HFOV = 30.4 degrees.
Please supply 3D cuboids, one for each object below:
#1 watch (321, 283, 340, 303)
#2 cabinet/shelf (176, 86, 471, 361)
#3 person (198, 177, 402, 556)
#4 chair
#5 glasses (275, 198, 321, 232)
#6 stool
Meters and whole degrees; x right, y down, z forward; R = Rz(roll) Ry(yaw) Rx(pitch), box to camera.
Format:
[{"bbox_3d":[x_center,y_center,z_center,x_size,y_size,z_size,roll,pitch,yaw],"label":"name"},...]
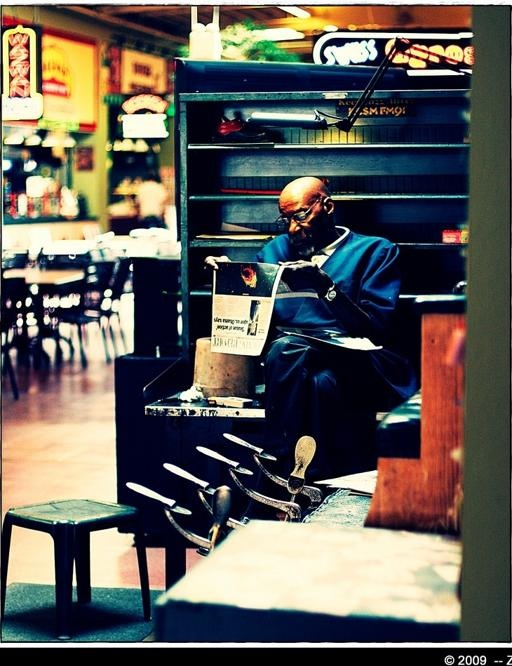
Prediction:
[{"bbox_3d":[0.278,-0.147,3.529,0.014,0.051,0.060,19,-18,-8],"label":"watch"},{"bbox_3d":[0.332,-0.324,4.164,1.328,1.333,0.429,-10,-10,23],"label":"cabinet/shelf"},{"bbox_3d":[0.256,0.026,3.798,0.550,1.250,0.692,-3,-6,45],"label":"person"},{"bbox_3d":[-1.663,-0.265,8.221,1.113,1.015,2.008,0,8,-8],"label":"chair"},{"bbox_3d":[0.186,-0.487,3.714,0.126,0.039,0.119,-44,15,-35],"label":"glasses"},{"bbox_3d":[-0.644,0.769,3.435,0.442,0.487,0.453,-1,-2,42],"label":"stool"}]
